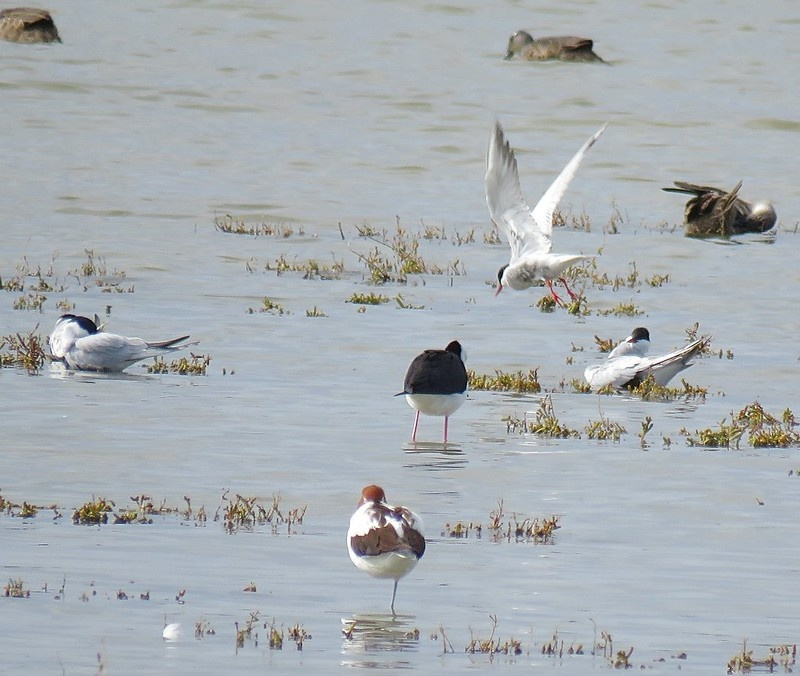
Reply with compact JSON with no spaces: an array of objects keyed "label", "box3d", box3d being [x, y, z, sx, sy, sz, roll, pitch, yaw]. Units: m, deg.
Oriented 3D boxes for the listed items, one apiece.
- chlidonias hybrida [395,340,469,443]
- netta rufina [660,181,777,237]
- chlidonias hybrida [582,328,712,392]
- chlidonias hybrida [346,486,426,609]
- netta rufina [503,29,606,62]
[{"label":"chlidonias hybrida","box3d":[0.575,0.826,24.714,0.893,1.348,1.227,0,-3,1]},{"label":"netta rufina","box3d":[8.482,-3.230,45.153,2.391,1.420,1.030,0,-3,-9]},{"label":"chlidonias hybrida","box3d":[3.926,0.494,28.658,2.032,0.985,2.173,2,14,14]},{"label":"chlidonias hybrida","box3d":[-0.089,2.388,19.907,1.029,1.358,1.671,2,-4,-7]},{"label":"netta rufina","box3d":[6.139,-11.371,68.618,4.515,1.663,1.410,0,3,25]}]
